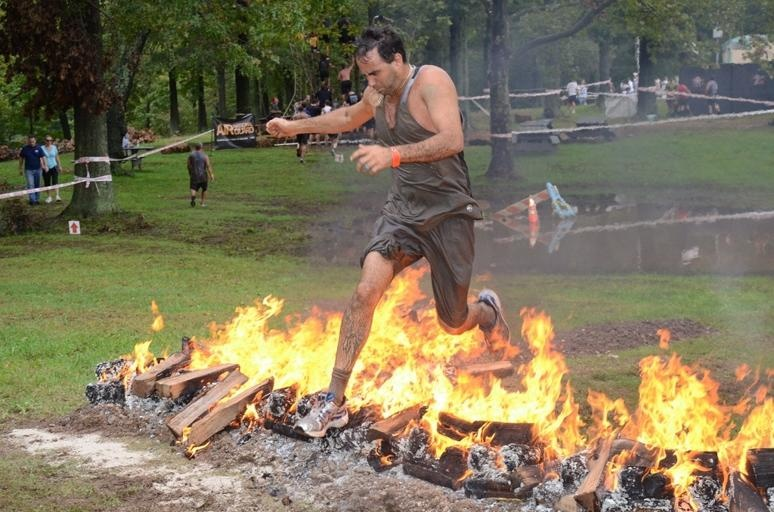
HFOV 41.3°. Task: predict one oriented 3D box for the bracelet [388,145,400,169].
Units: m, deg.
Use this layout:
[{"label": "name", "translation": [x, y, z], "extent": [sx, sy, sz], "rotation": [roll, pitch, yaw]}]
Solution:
[{"label": "bracelet", "translation": [0.124, -1.545, 16.056], "extent": [0.248, 0.242, 0.259], "rotation": [-19, 30, -24]}]
